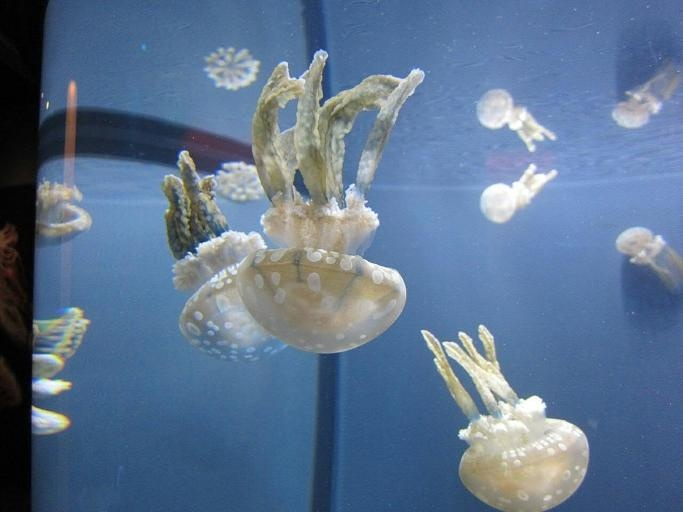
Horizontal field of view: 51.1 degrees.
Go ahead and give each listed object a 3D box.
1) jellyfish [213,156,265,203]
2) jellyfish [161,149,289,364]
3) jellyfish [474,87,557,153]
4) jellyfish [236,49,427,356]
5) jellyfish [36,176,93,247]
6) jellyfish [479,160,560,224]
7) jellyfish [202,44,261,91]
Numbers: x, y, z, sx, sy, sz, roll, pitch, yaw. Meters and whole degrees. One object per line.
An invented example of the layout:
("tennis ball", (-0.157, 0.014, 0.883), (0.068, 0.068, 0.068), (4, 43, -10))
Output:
("jellyfish", (-0.531, -0.387, 3.720), (0.229, 0.224, 0.101), (7, 2, -4))
("jellyfish", (-0.657, -0.039, 3.572), (0.458, 0.851, 0.393), (-24, -6, -8))
("jellyfish", (0.910, -0.675, 3.769), (0.455, 0.198, 0.143), (42, 4, -5))
("jellyfish", (-0.070, -0.214, 3.162), (0.773, 1.306, 0.341), (0, -2, -7))
("jellyfish", (-1.405, -0.225, 3.584), (0.326, 0.323, 0.089), (-1, -2, 27))
("jellyfish", (0.903, -0.343, 3.696), (0.424, 0.295, 0.254), (0, 11, 14))
("jellyfish", (-0.544, -0.933, 3.591), (0.227, 0.232, 0.067), (-9, 22, -7))
